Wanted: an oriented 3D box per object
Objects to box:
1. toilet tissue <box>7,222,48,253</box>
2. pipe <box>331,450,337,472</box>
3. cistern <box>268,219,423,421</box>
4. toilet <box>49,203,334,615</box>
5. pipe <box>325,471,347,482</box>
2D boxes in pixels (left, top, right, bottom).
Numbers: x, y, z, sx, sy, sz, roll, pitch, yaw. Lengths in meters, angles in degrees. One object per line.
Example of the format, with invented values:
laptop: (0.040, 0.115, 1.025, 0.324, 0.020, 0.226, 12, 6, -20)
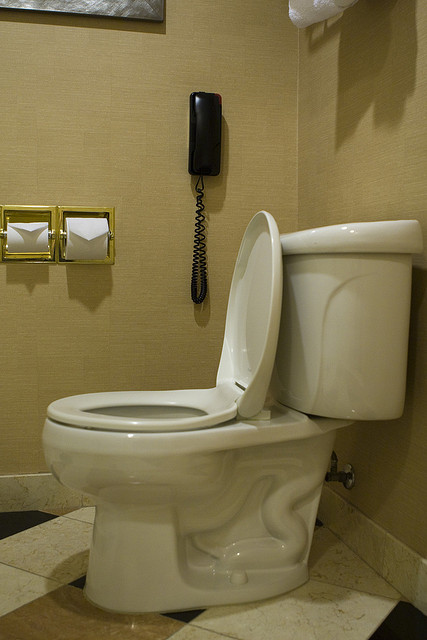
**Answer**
toilet tissue: (-0.515, -0.226, 1.462, 0.136, 0.100, 0.076, -1, 14, -13)
pipe: (0.287, 0.341, 1.254, 0.011, 0.049, 0.015, 0, -1, 5)
cistern: (0.218, -0.010, 1.099, 0.277, 0.377, 0.320, 0, 9, -8)
toilet: (-0.039, 0.175, 1.102, 0.582, 0.743, 0.381, 2, 1, -7)
pipe: (0.293, 0.374, 1.251, 0.046, 0.021, 0.025, 0, 5, -23)
